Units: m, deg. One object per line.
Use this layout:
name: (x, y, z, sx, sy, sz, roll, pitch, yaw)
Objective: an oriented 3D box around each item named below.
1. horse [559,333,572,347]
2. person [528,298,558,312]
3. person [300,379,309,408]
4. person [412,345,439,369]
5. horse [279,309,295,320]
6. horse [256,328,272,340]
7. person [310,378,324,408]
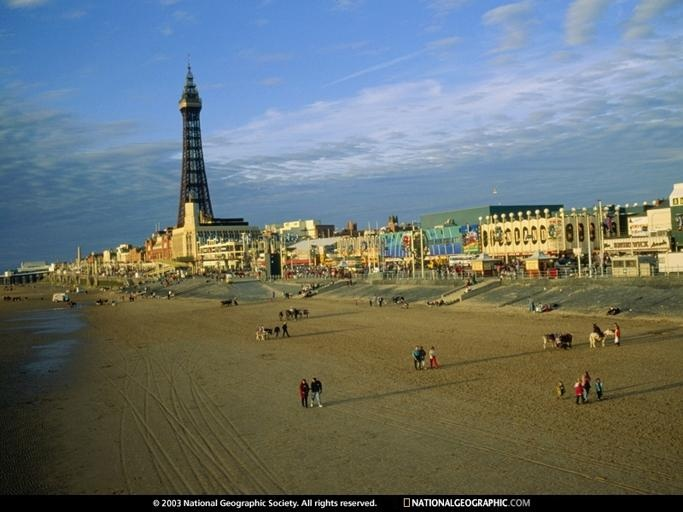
horse: (11.801, 4.407, 28.687, 0.916, 0.718, 0.355, -6, 5, -36)
person: (15.093, 3.676, 41.566, 1.605, 0.501, 1.009, 3, 4, 41)
person: (-1.476, 5.351, 21.740, 0.325, 1.059, 0.813, -4, 4, -6)
person: (4.211, 5.058, 27.374, 1.048, 0.898, 0.375, -1, -4, -4)
horse: (-4.685, 4.966, 47.987, 1.596, 0.850, 3.233, -3, 4, -6)
horse: (-5.189, 5.137, 36.872, 0.919, 0.742, 1.369, -1, 4, 22)
person: (-1.006, 5.345, 21.814, 0.448, 1.081, 0.922, -3, 4, -3)
